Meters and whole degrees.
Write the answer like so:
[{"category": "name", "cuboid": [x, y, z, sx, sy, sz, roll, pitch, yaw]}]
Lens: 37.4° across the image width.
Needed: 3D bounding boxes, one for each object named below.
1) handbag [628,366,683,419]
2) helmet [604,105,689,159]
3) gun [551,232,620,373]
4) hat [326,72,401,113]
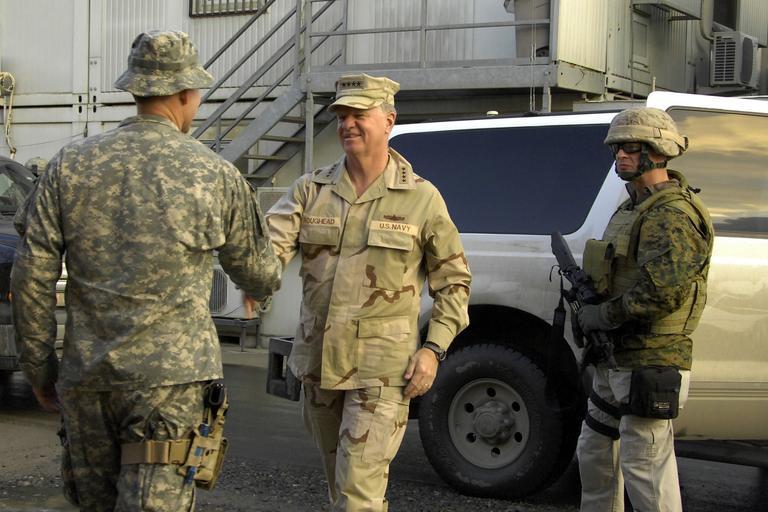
[{"category": "handbag", "cuboid": [1.759, 0.890, 7.373, 0.346, 0.336, 0.191, 4, 6, 6]}, {"category": "helmet", "cuboid": [1.765, -0.812, 7.596, 0.416, 0.266, 0.342, 11, -2, -9]}, {"category": "gun", "cuboid": [1.394, 0.330, 7.782, 0.113, 1.055, 0.417, -3, -22, -20]}, {"category": "hat", "cuboid": [-0.121, -1.050, 7.286, 0.440, 0.238, 0.243, 3, 6, -3]}]
